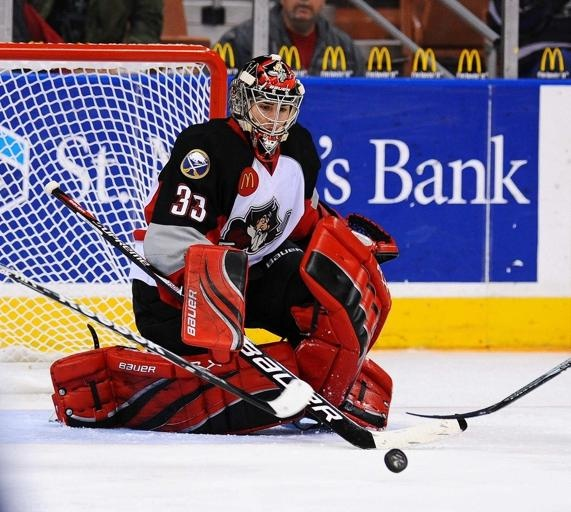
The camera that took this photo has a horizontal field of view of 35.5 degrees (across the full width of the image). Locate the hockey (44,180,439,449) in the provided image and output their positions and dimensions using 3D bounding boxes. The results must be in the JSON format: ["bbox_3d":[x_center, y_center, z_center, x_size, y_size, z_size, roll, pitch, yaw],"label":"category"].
[{"bbox_3d":[-0.178,0.255,2.459,1.441,0.142,0.429,25,29,-5],"label":"hockey"}]

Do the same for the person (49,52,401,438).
[{"bbox_3d":[-0.129,-0.004,2.740,1.372,1.035,0.736,1,14,-42],"label":"person"}]
